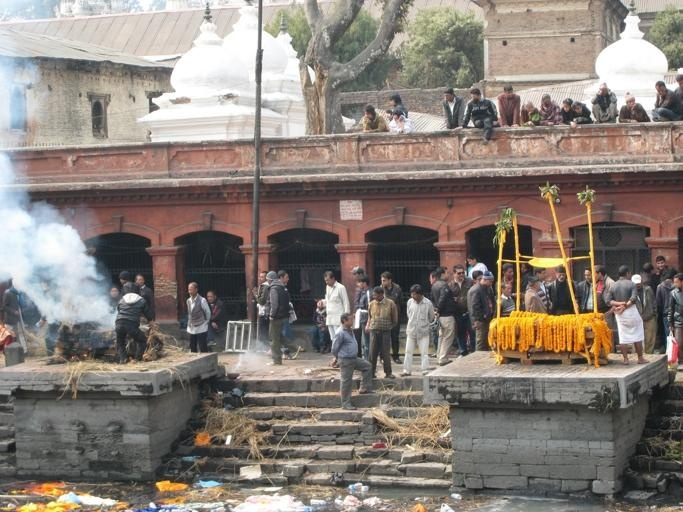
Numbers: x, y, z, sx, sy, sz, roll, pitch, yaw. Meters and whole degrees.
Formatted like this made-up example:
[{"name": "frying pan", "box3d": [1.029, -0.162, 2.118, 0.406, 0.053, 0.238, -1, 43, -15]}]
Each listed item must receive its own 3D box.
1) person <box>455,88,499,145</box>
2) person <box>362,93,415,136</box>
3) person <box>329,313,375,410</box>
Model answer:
[{"name": "person", "box3d": [3.363, -3.455, 38.291, 0.955, 1.292, 0.758, -13, 0, -43]}, {"name": "person", "box3d": [1.060, -3.486, 39.736, 1.006, 1.253, 0.958, -11, 15, -31]}, {"name": "person", "box3d": [0.139, 2.274, 33.932, 0.855, 1.909, 1.020, 1, 10, -33]}]
